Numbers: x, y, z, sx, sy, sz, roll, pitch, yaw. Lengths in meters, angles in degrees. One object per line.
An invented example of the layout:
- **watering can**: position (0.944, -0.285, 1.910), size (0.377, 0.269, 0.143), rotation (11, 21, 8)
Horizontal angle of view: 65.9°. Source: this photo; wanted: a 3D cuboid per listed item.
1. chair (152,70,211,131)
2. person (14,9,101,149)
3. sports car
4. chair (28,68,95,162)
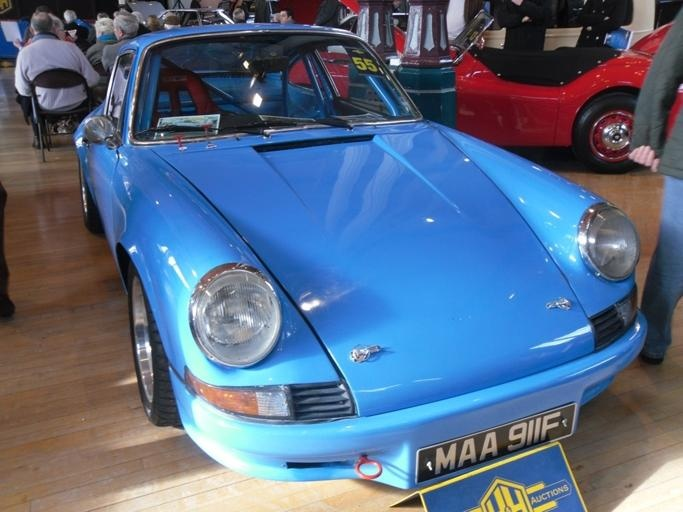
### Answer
- **chair**: position (-0.806, -0.798, 2.756), size (0.245, 0.245, 0.321), rotation (-2, 10, -37)
- **person**: position (-3.156, -2.054, 6.145), size (0.962, 1.359, 0.819), rotation (-5, 22, 4)
- **sports car**: position (-0.327, -0.263, 2.528), size (1.670, 0.934, 2.857), rotation (-11, 30, -23)
- **chair**: position (-3.227, -1.646, 6.075), size (0.816, 0.923, 0.772), rotation (12, 23, 30)
